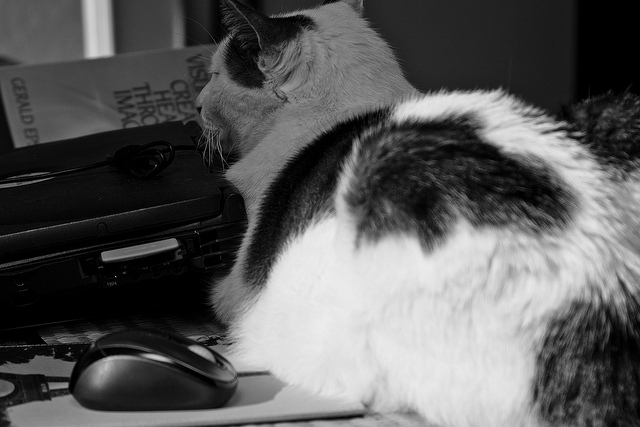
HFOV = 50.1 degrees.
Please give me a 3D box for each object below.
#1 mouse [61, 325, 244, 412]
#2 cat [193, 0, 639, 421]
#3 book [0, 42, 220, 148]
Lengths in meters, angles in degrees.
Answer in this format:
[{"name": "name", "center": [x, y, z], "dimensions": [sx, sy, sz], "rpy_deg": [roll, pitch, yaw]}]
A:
[{"name": "mouse", "center": [-0.167, 0.135, 0.642], "dimensions": [0.134, 0.045, 0.083], "rpy_deg": [0, 4, -7]}, {"name": "cat", "center": [0.050, 0.010, 0.747], "dimensions": [0.512, 0.248, 0.353], "rpy_deg": [19, 51, 35]}, {"name": "book", "center": [-0.347, -0.195, 1.129], "dimensions": [0.335, 0.120, 0.096], "rpy_deg": [-7, 37, -16]}]
